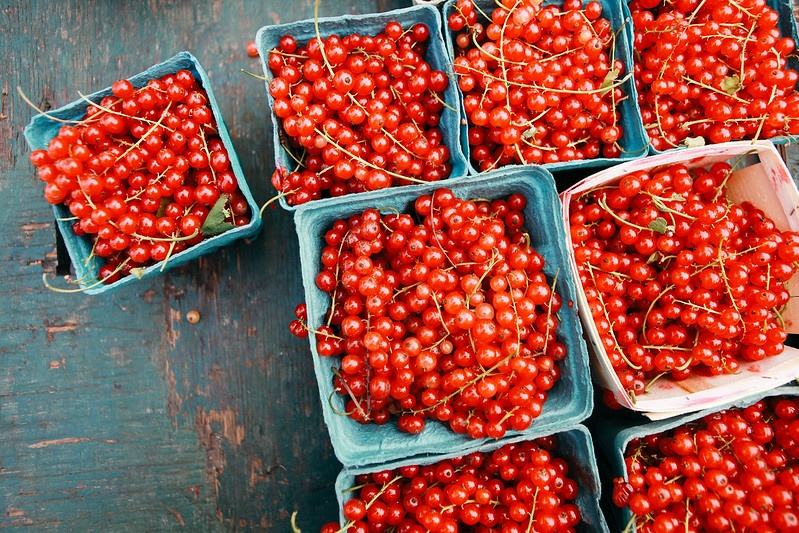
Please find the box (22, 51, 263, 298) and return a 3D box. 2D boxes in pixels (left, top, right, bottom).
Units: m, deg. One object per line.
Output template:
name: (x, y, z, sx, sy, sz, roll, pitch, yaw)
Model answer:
box: (-0.886, -0.302, 2.831, 0.833, 0.531, 0.825, -23, 99, -5)
